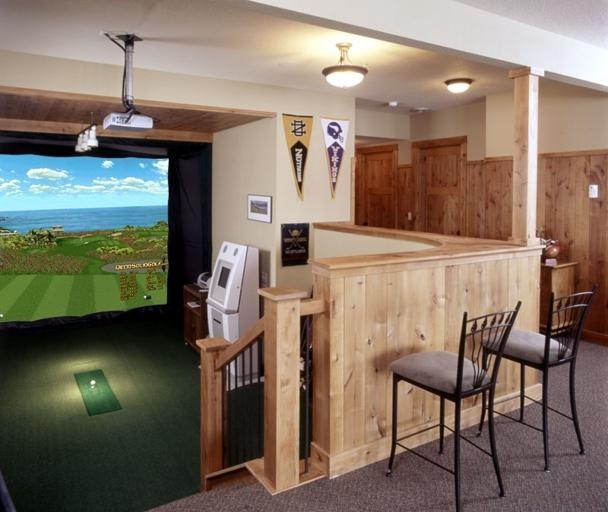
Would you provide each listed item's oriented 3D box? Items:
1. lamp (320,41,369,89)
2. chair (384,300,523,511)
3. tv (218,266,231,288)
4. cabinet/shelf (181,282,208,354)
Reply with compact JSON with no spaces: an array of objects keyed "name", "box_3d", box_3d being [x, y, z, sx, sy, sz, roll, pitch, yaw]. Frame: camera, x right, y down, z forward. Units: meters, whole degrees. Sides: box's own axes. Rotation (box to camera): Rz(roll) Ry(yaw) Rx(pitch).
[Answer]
[{"name":"lamp","box_3d":[0.376,-1.788,4.149,0.347,0.314,0.361,-16,24,-28]},{"name":"chair","box_3d":[0.972,0.742,2.769,0.722,1.072,1.097,10,14,39]},{"name":"tv","box_3d":[-0.992,0.246,5.561,0.064,0.214,0.238,11,6,-31]},{"name":"cabinet/shelf","box_3d":[-1.420,0.806,5.870,0.345,0.910,0.896,-1,3,-26]}]
